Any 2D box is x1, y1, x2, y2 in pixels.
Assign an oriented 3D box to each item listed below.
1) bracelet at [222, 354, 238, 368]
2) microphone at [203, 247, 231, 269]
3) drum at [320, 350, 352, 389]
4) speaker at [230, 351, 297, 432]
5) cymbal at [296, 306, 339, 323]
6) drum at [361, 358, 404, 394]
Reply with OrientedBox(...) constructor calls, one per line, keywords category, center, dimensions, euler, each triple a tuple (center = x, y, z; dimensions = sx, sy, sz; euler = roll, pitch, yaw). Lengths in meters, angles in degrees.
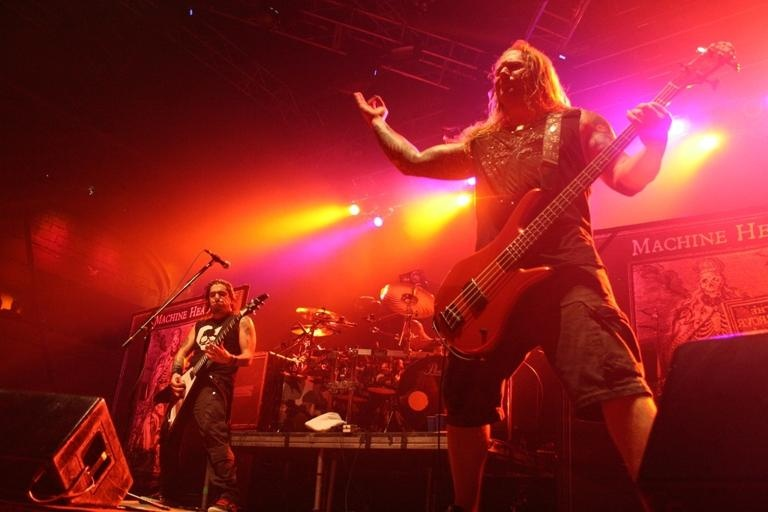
OrientedBox(category="bracelet", center=(-1.943, 1.337, 7.316), dimensions=(0.154, 0.036, 0.156), euler=(33, -47, 18))
OrientedBox(category="microphone", center=(-3.253, 0.013, 11.203), dimensions=(0.639, 0.187, 0.193), euler=(27, -17, 25))
OrientedBox(category="drum", center=(-0.845, 1.908, 9.832), dimensions=(0.502, 0.575, 0.512), euler=(-4, -8, 17))
OrientedBox(category="speaker", center=(-2.129, 2.296, 9.622), dimensions=(0.991, 1.245, 1.003), euler=(7, -21, -16))
OrientedBox(category="cymbal", center=(-1.241, 1.086, 10.637), dimensions=(0.531, 0.129, 0.542), euler=(6, 0, 16))
OrientedBox(category="drum", center=(-0.029, 2.058, 9.862), dimensions=(0.547, 0.526, 0.541), euler=(0, -20, 17))
